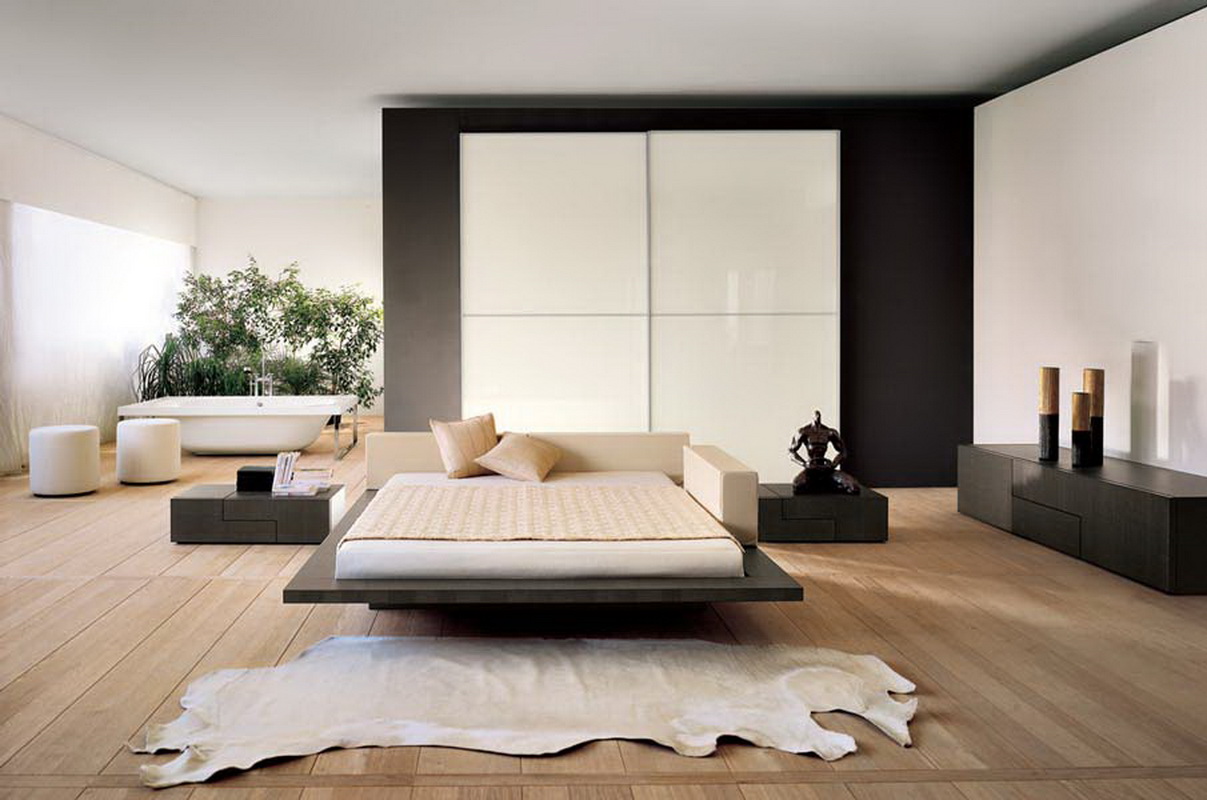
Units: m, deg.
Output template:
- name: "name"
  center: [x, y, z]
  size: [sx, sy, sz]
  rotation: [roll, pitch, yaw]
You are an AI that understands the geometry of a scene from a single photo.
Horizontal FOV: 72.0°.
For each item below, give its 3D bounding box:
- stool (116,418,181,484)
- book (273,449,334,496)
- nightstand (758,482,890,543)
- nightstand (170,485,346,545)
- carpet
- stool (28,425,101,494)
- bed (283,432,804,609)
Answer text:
- name: "stool"
  center: [-4.243, 0.450, 7.778]
  size: [0.536, 0.596, 0.542]
  rotation: [-13, -19, 37]
- name: "book"
  center: [-2.235, 0.564, 6.145]
  size: [0.357, 0.227, 0.372]
  rotation: [-1, 0, -5]
- name: "nightstand"
  center: [1.604, 0.868, 6.190]
  size: [0.625, 0.238, 0.455]
  rotation: [-1, -2, 2]
- name: "nightstand"
  center: [-2.583, 0.840, 6.230]
  size: [1.135, 0.359, 0.643]
  rotation: [2, 9, -6]
- name: "carpet"
  center: [-0.474, 1.478, 4.066]
  size: [3.289, 0.188, 0.889]
  rotation: [-1, 12, -3]
- name: "stool"
  center: [-4.626, 0.518, 7.336]
  size: [0.559, 0.574, 0.553]
  rotation: [0, 2, -3]
- name: "bed"
  center: [-0.327, 0.744, 5.270]
  size: [2.676, 0.813, 2.074]
  rotation: [-1, 12, -1]
